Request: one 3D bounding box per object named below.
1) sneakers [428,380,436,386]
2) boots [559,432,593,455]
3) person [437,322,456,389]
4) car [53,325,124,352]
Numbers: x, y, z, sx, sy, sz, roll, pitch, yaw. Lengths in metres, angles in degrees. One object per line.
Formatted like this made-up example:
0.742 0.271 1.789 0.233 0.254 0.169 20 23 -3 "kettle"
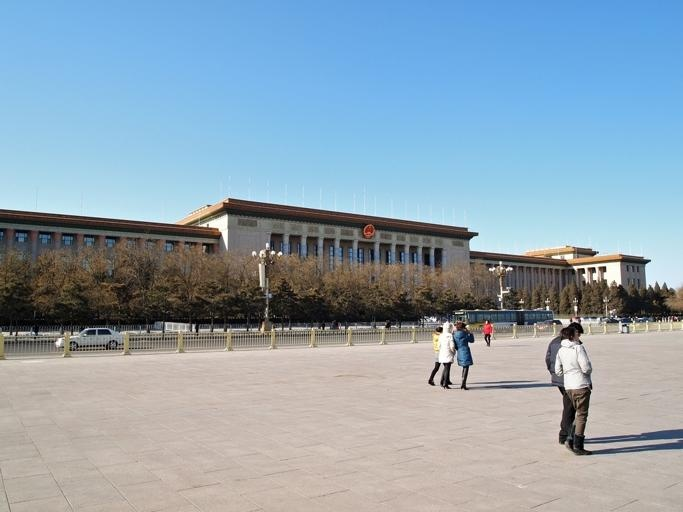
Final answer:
2.406 3.345 16.854 0.178 0.128 0.418 0 -6 6 "sneakers"
3.748 2.963 10.231 0.271 0.319 0.590 2 -6 -16 "boots"
2.727 2.532 16.390 0.431 1.676 0.789 0 -5 4 "person"
-13.599 4.196 34.839 3.766 1.420 1.730 6 -10 -22 "car"
